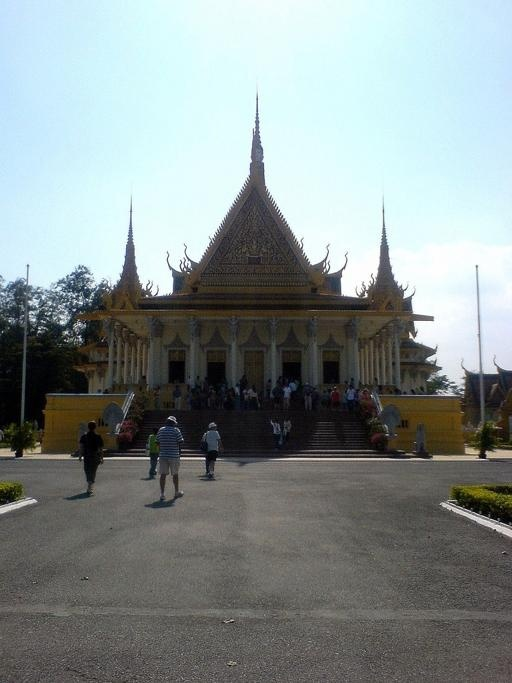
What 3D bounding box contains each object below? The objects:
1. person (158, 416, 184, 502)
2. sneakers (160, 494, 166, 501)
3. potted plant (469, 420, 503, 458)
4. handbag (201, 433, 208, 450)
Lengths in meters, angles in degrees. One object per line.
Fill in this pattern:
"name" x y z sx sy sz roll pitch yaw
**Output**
"person" -1.528 2.110 11.364 0.490 1.514 0.437 9 -12 -34
"sneakers" -1.582 2.670 10.596 0.068 0.132 0.122 1 -17 -3
"potted plant" 8.804 3.704 24.324 1.063 2.031 1.084 0 4 -14
"handbag" -1.210 2.388 14.637 0.141 0.411 0.500 0 -6 -5
